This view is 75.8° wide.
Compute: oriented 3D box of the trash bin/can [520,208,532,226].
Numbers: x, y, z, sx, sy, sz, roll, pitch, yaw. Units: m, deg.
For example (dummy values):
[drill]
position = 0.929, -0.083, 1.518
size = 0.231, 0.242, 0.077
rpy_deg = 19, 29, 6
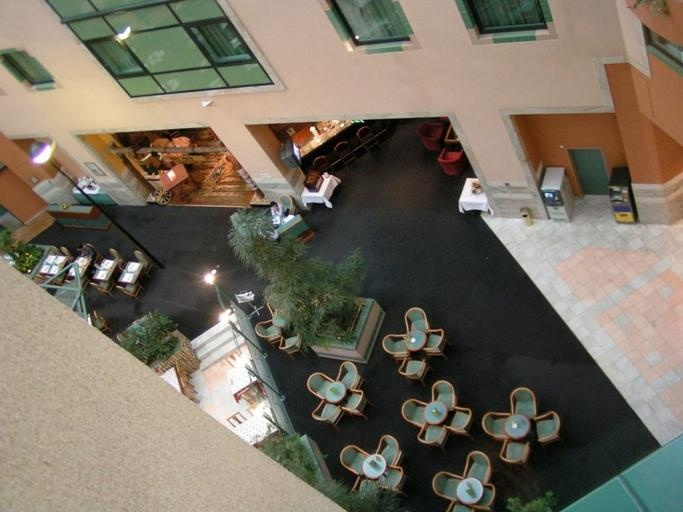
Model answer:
[trash bin/can]
position = 6.091, -1.363, 14.506
size = 0.343, 0.760, 0.450
rpy_deg = -11, 42, 22

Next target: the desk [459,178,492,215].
[desk]
position = 4.691, -2.296, 15.648
size = 1.213, 0.586, 1.209
rpy_deg = -4, 60, 25
